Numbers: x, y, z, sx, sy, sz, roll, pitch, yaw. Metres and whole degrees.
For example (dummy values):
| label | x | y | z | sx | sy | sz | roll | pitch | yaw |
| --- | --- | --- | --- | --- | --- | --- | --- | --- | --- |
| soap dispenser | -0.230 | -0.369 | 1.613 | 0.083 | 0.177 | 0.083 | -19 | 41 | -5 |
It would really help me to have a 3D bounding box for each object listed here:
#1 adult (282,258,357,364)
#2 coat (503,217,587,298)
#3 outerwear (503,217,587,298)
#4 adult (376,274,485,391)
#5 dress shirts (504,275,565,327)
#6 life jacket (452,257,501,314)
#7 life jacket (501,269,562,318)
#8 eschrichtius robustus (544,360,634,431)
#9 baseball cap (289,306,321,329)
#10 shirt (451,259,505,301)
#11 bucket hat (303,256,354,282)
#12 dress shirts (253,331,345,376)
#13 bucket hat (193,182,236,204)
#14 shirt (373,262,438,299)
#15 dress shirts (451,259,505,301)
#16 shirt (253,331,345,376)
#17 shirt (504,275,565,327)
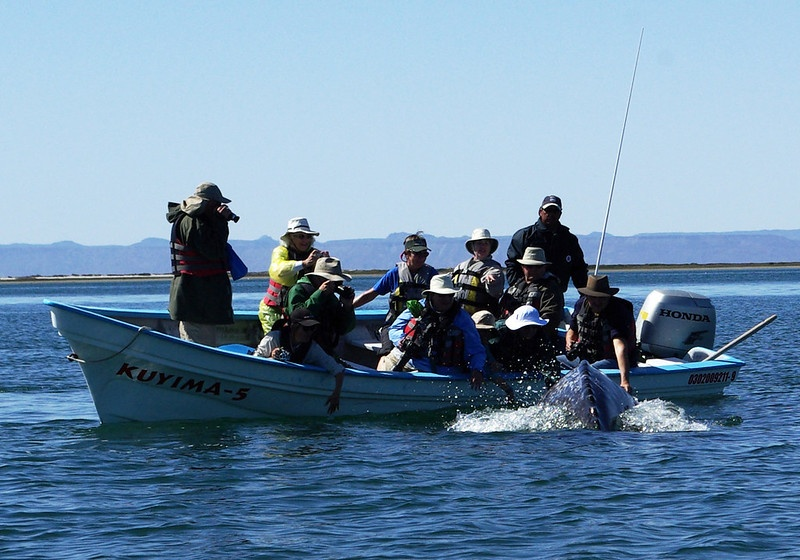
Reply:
| label | x | y | z | sx | sy | sz | roll | pitch | yaw |
| --- | --- | --- | --- | --- | --- | --- | --- | --- | --- |
| adult | -1.132 | 0.716 | 18.369 | 1.121 | 1.917 | 0.892 | -5 | -1 | 5 |
| coat | 2.430 | -0.359 | 20.808 | 1.469 | 1.235 | 0.671 | 5 | -3 | -5 |
| outerwear | 2.259 | -0.291 | 20.029 | 1.388 | 1.221 | 0.657 | -1 | 2 | -17 |
| adult | 0.511 | 0.819 | 18.955 | 1.174 | 1.269 | 0.723 | 30 | 40 | 29 |
| dress shirts | 2.039 | 0.336 | 19.493 | 0.382 | 0.529 | 0.662 | 32 | -10 | -30 |
| life jacket | 1.175 | 0.126 | 19.417 | 0.328 | 0.631 | 0.818 | -9 | 9 | -36 |
| life jacket | 2.018 | 0.237 | 19.608 | 0.388 | 0.540 | 0.670 | 31 | -16 | -28 |
| eschrichtius robustus | 2.799 | 1.496 | 18.845 | 1.382 | 0.657 | 1.751 | -10 | 23 | 6 |
| baseball cap | -1.359 | 0.542 | 17.900 | 0.349 | 0.187 | 0.258 | 0 | -2 | 27 |
| shirt | 1.230 | -0.077 | 19.476 | 0.564 | 0.396 | 1.044 | -13 | 17 | -35 |
| bucket hat | -1.015 | -0.155 | 18.202 | 0.452 | 0.243 | 0.469 | 2 | 3 | 5 |
| dress shirts | -1.427 | 1.069 | 18.336 | 0.804 | 0.286 | 0.794 | 32 | -16 | -22 |
| bucket hat | -2.617 | -1.203 | 17.661 | 0.430 | 0.253 | 0.596 | 5 | 3 | -8 |
| shirt | 0.207 | -0.027 | 19.524 | 1.230 | 0.509 | 0.407 | -7 | -1 | 4 |
| dress shirts | 1.057 | -0.066 | 19.621 | 1.071 | 0.393 | 0.533 | 3 | 16 | 28 |
| shirt | -1.434 | 1.071 | 18.346 | 0.804 | 0.286 | 0.794 | 32 | -16 | -22 |
| shirt | 2.182 | 0.348 | 20.055 | 0.672 | 1.129 | 1.232 | -5 | -2 | -15 |
